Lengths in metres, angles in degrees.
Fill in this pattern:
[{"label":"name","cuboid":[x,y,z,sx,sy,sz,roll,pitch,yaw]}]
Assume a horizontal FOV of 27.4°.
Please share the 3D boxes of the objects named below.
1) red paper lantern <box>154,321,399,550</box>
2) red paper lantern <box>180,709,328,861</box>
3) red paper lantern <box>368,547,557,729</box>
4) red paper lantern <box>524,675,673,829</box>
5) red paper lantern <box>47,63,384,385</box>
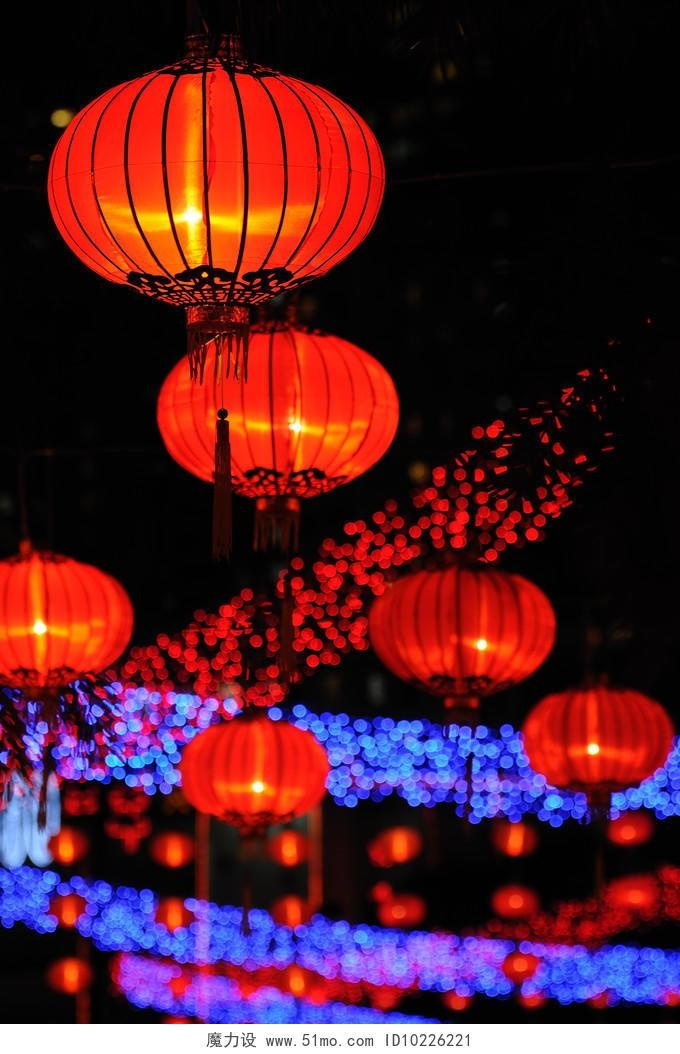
[{"label":"red paper lantern","cuboid":[-0.138,-0.276,3.704,0.597,0.637,0.600,1,-19,0]},{"label":"red paper lantern","cuboid":[-0.322,0.903,5.039,0.530,0.611,0.558,-1,-3,29]},{"label":"red paper lantern","cuboid":[0.370,0.365,4.567,0.652,0.587,0.630,-2,0,24]},{"label":"red paper lantern","cuboid":[0.891,0.815,4.972,0.450,0.459,0.457,-3,-20,3]},{"label":"red paper lantern","cuboid":[-0.242,-0.627,2.837,0.537,0.560,0.530,14,-19,-39]}]
